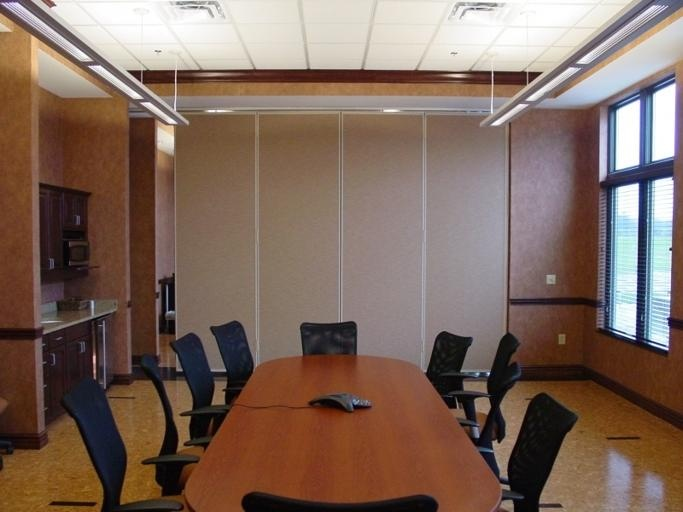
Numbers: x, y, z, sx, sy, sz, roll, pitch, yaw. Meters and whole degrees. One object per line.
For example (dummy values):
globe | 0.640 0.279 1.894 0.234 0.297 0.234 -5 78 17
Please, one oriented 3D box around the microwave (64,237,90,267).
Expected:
microwave | -3.411 -0.016 7.209 0.271 0.392 0.412 0 -2 9

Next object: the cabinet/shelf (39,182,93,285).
cabinet/shelf | -3.516 -0.299 6.990 0.491 1.325 1.335 0 -1 -4
